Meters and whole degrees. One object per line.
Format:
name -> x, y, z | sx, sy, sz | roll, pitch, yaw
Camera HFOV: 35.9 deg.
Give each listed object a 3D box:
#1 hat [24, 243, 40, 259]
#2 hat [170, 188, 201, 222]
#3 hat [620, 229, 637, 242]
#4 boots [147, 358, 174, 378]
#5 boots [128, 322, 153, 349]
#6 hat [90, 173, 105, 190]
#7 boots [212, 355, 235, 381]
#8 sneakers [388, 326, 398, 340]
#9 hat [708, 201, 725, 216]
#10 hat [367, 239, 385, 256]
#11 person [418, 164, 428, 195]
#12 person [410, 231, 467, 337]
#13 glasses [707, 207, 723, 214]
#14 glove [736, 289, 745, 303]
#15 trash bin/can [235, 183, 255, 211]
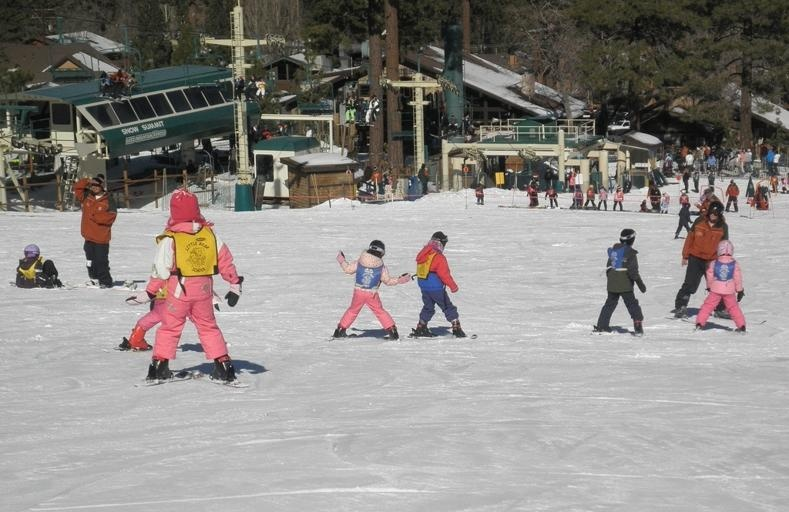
hat -> -9.317, -0.129, 31.309 | 0.368, 0.362, 0.459 | 7, 11, 32
hat -> -4.224, -1.044, 24.282 | 0.598, 0.611, 0.644 | -3, 11, -14
hat -> 5.603, -0.508, 29.215 | 0.337, 0.333, 0.262 | -36, 47, -9
boots -> -4.737, 2.279, 24.848 | 0.251, 0.449, 0.687 | 8, 12, 28
boots -> -5.577, 1.773, 26.463 | 0.478, 0.696, 0.403 | -4, 16, -13
hat -> -7.574, -1.894, 30.970 | 0.322, 0.480, 1.116 | -3, 15, -11
boots -> -3.469, 2.276, 24.786 | 0.277, 0.535, 0.763 | -4, 15, -24
sneakers -> -0.050, 1.782, 28.023 | 0.212, 0.352, 0.276 | -9, -8, 31
hat -> 7.723, -1.173, 29.253 | 0.282, 0.326, 0.279 | 9, 6, 24
hat -> -0.383, -0.168, 27.180 | 0.296, 0.306, 0.396 | 26, 25, 31
person -> 1.478, -4.014, 63.283 | 0.396, 1.340, 1.124 | -2, 15, -7
person -> 0.978, 0.677, 27.911 | 1.137, 2.607, 0.960 | 6, 16, 23
glasses -> 7.705, -1.123, 29.257 | 0.208, 0.188, 0.244 | 4, 4, -6
glove -> 8.142, 0.961, 28.662 | 0.267, 0.360, 0.111 | -1, 5, -2
trash bin/can -> -6.950, -2.690, 55.339 | 0.725, 1.258, 1.245 | 3, 15, 12
